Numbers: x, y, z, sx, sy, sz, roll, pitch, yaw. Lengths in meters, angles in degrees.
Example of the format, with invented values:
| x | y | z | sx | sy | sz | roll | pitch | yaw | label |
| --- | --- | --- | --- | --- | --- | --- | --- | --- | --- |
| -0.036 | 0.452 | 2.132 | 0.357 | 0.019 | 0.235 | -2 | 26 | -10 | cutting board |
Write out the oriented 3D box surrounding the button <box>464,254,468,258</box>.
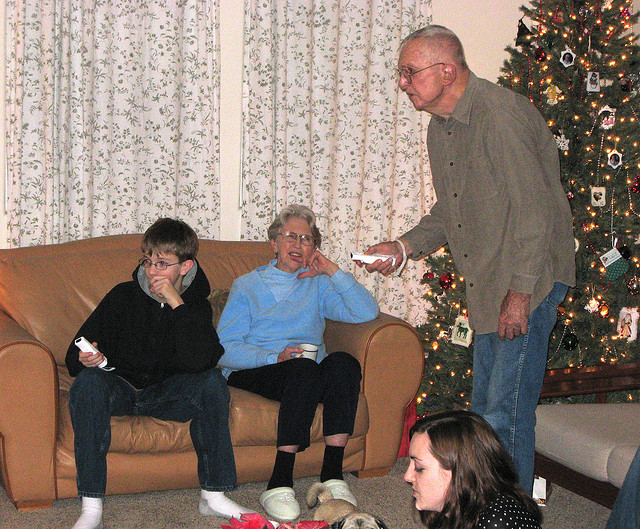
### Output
| x | y | z | sx | sy | sz | roll | pitch | yaw | label |
| --- | --- | --- | --- | --- | --- | --- | --- | --- | --- |
| 0.577 | -0.038 | 2.619 | 0.013 | 0.015 | 0.004 | -4 | 4 | 21 | button |

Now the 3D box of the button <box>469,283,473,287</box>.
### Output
| x | y | z | sx | sy | sz | roll | pitch | yaw | label |
| --- | --- | --- | --- | --- | --- | --- | --- | --- | --- |
| 0.592 | 0.076 | 2.594 | 0.012 | 0.015 | 0.003 | 0 | -1 | 28 | button |

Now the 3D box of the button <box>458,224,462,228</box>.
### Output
| x | y | z | sx | sy | sz | roll | pitch | yaw | label |
| --- | --- | --- | --- | --- | --- | --- | --- | --- | --- |
| 0.556 | -0.158 | 2.633 | 0.011 | 0.013 | 0.003 | 1 | 4 | 21 | button |

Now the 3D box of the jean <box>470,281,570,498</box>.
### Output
| x | y | z | sx | sy | sz | roll | pitch | yaw | label |
| --- | --- | --- | --- | --- | --- | --- | --- | --- | --- |
| 0.753 | 0.465 | 2.576 | 0.341 | 0.817 | 0.235 | 4 | 7 | 21 | jean |

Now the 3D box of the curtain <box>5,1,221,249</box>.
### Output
| x | y | z | sx | sy | sz | roll | pitch | yaw | label |
| --- | --- | --- | --- | --- | --- | --- | --- | --- | --- |
| -1.214 | -0.814 | 3.715 | 1.224 | 1.960 | 0.140 | -2 | 13 | -13 | curtain |

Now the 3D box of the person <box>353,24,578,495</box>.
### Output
| x | y | z | sx | sy | sz | roll | pitch | yaw | label |
| --- | --- | --- | --- | --- | --- | --- | --- | --- | --- |
| 0.658 | -0.038 | 2.626 | 0.638 | 1.781 | 0.340 | 5 | 8 | 30 | person |

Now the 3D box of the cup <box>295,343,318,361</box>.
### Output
| x | y | z | sx | sy | sz | roll | pitch | yaw | label |
| --- | --- | --- | --- | --- | --- | --- | --- | --- | --- |
| -0.061 | 0.398 | 2.998 | 0.103 | 0.072 | 0.096 | 1 | 7 | 0 | cup |

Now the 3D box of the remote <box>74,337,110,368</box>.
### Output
| x | y | z | sx | sy | sz | roll | pitch | yaw | label |
| --- | --- | --- | --- | --- | --- | --- | --- | --- | --- |
| -0.924 | 0.362 | 2.736 | 0.079 | 0.163 | 0.038 | -9 | 37 | 52 | remote |

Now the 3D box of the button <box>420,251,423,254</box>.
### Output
| x | y | z | sx | sy | sz | roll | pitch | yaw | label |
| --- | --- | --- | --- | --- | --- | --- | --- | --- | --- |
| 0.462 | -0.059 | 3.027 | 0.010 | 0.012 | 0.003 | 5 | 1 | -17 | button |

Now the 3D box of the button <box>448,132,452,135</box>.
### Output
| x | y | z | sx | sy | sz | roll | pitch | yaw | label |
| --- | --- | --- | --- | --- | --- | --- | --- | --- | --- |
| 0.514 | -0.526 | 2.629 | 0.012 | 0.015 | 0.003 | -2 | -1 | 11 | button |
